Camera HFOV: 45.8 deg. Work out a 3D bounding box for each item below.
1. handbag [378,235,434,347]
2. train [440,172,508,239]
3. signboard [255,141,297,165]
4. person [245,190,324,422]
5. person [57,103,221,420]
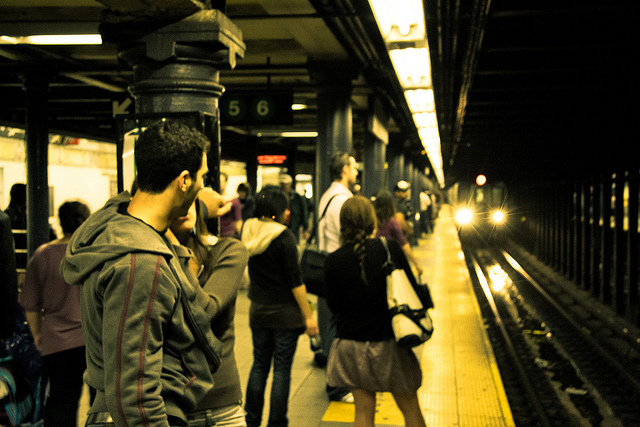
[{"bbox_3d":[0.797,0.757,7.153,0.597,0.971,0.323,7,5,17],"label":"handbag"},{"bbox_3d":[5.117,-0.235,23.944,1.654,2.273,4.622,7,6,13],"label":"train"},{"bbox_3d":[-1.397,-1.889,23.965,1.303,0.726,2.551,6,6,-4],"label":"signboard"},{"bbox_3d":[-0.488,0.949,8.058,0.786,2.353,0.657,10,7,38],"label":"person"},{"bbox_3d":[-1.245,0.426,5.849,1.055,2.280,1.101,9,6,34],"label":"person"}]
